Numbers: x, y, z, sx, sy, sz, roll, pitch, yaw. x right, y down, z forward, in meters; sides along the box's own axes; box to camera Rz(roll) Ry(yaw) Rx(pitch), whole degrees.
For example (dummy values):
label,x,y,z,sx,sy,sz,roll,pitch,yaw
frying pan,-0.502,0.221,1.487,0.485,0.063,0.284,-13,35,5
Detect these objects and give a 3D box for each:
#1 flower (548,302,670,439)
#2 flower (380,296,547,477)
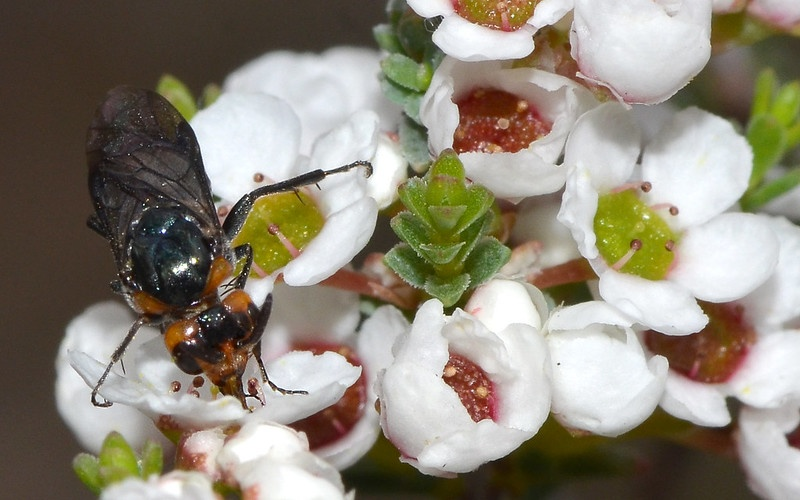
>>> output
label,x,y,z,sx,sy,sz,roll,pitch,yaw
flower,0.339,0.175,1.432,0.176,0.222,0.191,-3,10,-2
flower,0.100,0.193,1.374,0.259,0.144,0.217,-25,12,-18
